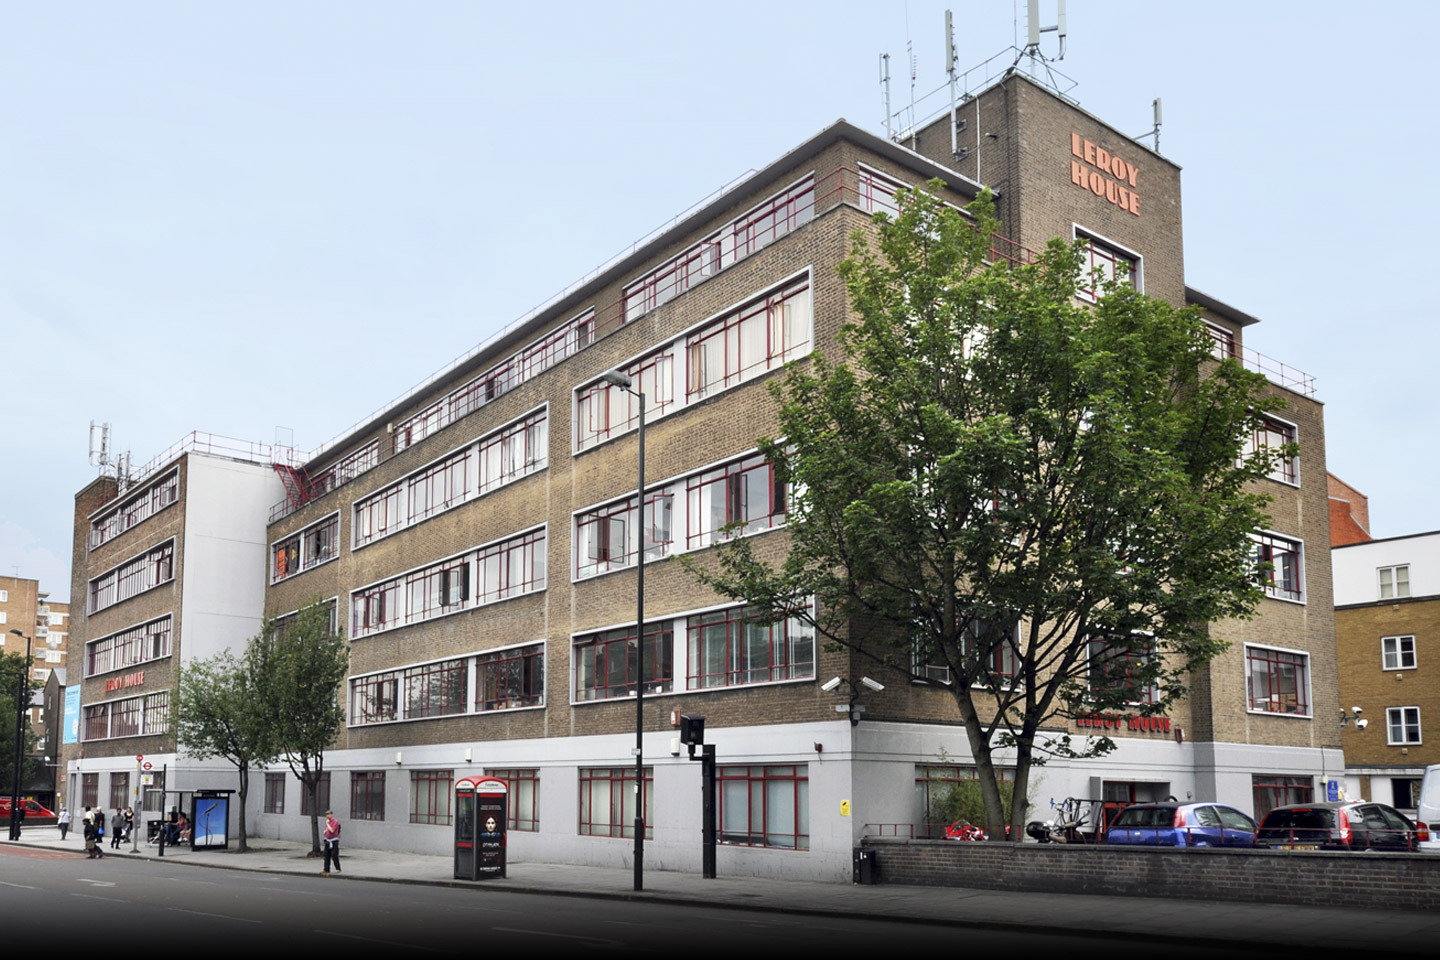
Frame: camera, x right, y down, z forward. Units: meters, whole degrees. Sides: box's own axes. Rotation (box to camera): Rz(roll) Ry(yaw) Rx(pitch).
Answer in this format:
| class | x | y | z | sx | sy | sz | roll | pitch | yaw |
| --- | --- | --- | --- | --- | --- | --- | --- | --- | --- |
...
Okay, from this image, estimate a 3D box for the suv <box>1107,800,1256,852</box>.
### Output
| class | x | y | z | sx | sy | sz | roll | pitch | yaw |
| --- | --- | --- | --- | --- | --- | --- | --- | --- | --- |
| suv | 15.061 | 11.239 | 53.033 | 4.678 | 1.434 | 1.645 | 1 | -18 | -5 |
